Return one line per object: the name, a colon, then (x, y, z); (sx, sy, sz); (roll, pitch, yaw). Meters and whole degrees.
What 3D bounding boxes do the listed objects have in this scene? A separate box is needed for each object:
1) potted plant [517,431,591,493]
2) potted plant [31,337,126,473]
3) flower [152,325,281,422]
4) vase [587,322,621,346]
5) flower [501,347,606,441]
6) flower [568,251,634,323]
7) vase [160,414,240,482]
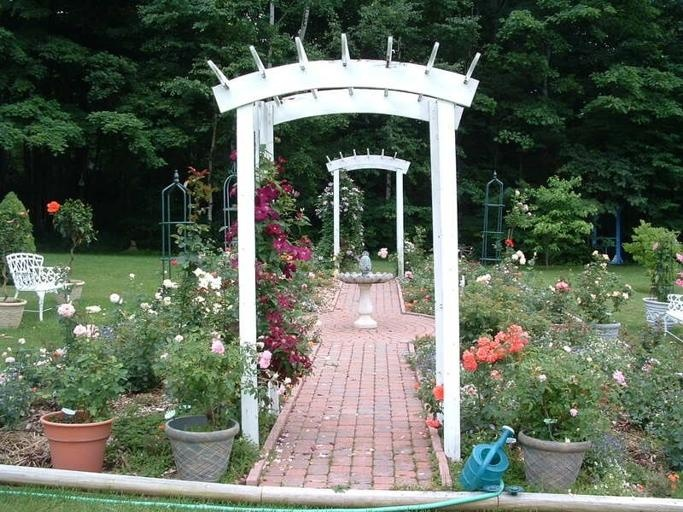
potted plant: (1.867, 1.822, 6.242); (0.629, 0.460, 0.641); (4, -1, 6)
potted plant: (-2.345, 1.402, 6.304); (0.841, 1.325, 0.648); (-10, -3, 26)
flower: (-1.219, 1.152, 6.243); (0.645, 0.603, 0.700); (-12, -20, -15)
vase: (3.598, 1.034, 9.569); (0.339, 0.257, 0.348); (1, 3, 10)
flower: (1.854, 1.348, 6.359); (0.818, 0.676, 0.923); (-12, -25, 38)
flower: (3.616, 0.433, 9.963); (0.644, 0.975, 1.131); (1, 4, 41)
vase: (-1.209, 1.696, 6.289); (0.703, 0.511, 0.709); (-6, 6, -9)
